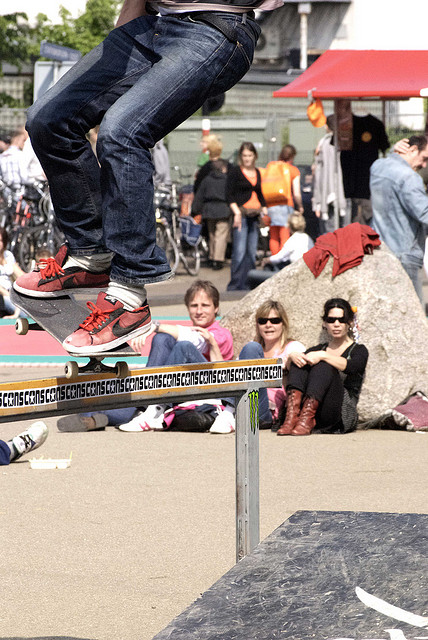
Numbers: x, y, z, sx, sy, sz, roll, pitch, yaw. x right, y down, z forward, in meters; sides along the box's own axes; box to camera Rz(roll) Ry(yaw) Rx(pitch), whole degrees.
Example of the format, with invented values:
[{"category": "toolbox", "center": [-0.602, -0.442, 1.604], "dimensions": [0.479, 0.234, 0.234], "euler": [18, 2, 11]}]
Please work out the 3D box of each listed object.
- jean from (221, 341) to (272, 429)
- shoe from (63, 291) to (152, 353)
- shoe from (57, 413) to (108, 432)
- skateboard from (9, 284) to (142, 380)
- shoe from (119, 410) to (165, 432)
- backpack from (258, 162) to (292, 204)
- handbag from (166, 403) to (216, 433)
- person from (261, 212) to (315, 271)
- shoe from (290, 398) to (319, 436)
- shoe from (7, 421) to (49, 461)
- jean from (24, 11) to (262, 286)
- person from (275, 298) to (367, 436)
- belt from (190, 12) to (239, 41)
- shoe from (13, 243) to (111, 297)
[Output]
[{"category": "jean", "center": [0.215, 0.421, 6.730], "dimensions": [0.330, 0.590, 0.695], "euler": [-1, 5, 0]}, {"category": "shoe", "center": [-0.318, -0.002, 3.277], "dimensions": [0.114, 0.152, 0.341], "euler": [30, 34, 34]}, {"category": "shoe", "center": [-0.850, 0.657, 6.960], "dimensions": [0.327, 0.105, 0.183], "euler": [-1, 5, -3]}, {"category": "skateboard", "center": [-0.443, 0.000, 3.330], "dimensions": [0.265, 0.166, 0.582], "euler": [-5, 33, -31]}, {"category": "shoe", "center": [-0.443, 0.646, 6.902], "dimensions": [0.329, 0.137, 0.107], "euler": [0, 3, -16]}, {"category": "backpack", "center": [0.786, -1.697, 13.293], "dimensions": [0.457, 0.557, 0.298], "euler": [-7, -10, 20]}, {"category": "handbag", "center": [-0.144, 0.626, 6.842], "dimensions": [0.307, 0.167, 0.205], "euler": [-1, 5, -4]}, {"category": "person", "center": [0.886, -0.832, 11.825], "dimensions": [0.568, 0.709, 0.561], "euler": [-7, -4, -25]}, {"category": "shoe", "center": [0.591, 0.582, 6.639], "dimensions": [0.124, 0.231, 0.241], "euler": [3, 7, 39]}, {"category": "shoe", "center": [-0.964, 0.625, 5.776], "dimensions": [0.297, 0.108, 0.116], "euler": [-35, -4, 14]}, {"category": "jean", "center": [-0.231, -0.548, 3.353], "dimensions": [0.639, 0.847, 0.356], "euler": [0, 5, 10]}, {"category": "person", "center": [0.664, 0.289, 6.763], "dimensions": [0.663, 0.828, 0.384], "euler": [-5, 7, -42]}, {"category": "belt", "center": [0.006, -0.922, 3.342], "dimensions": [0.111, 0.028, 0.083], "euler": [27, -14, 14]}, {"category": "shoe", "center": [-0.486, -0.164, 3.491], "dimensions": [0.338, 0.151, 0.119], "euler": [-2, 15, -30]}]
